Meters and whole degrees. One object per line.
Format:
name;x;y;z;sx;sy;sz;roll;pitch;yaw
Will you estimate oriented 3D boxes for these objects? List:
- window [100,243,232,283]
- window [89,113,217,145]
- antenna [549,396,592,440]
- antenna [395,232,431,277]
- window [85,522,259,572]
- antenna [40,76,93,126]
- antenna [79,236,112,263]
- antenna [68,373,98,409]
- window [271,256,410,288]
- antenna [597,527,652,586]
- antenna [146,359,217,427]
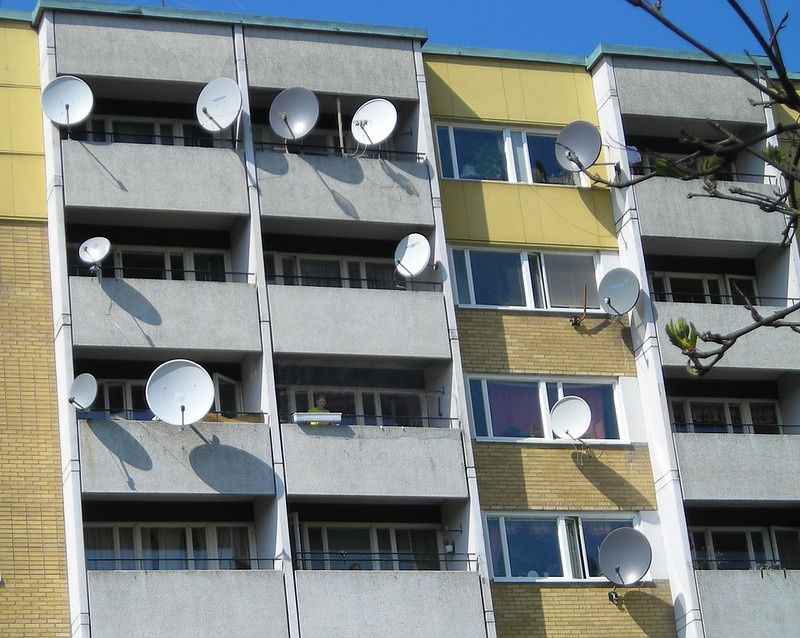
window;-6.057;-1.516;38.497;3.090;0.992;0.374;-1;-19;-14
window;-6.748;-5.151;39.410;3.237;0.864;0.241;-1;-19;-15
antenna;4.435;2.375;38.169;0.949;1.216;0.986;-2;-9;-3
antenna;0.347;-1.766;37.951;0.218;1.109;0.919;10;7;-42
window;-5.704;5.425;35.965;3.961;1.164;0.137;0;-19;-16
antenna;-8.403;-5.567;36.933;1.170;1.303;0.555;-31;-9;-13
antenna;-7.513;-1.769;36.029;0.825;0.887;0.367;-9;-20;10
antenna;-7.510;1.639;34.887;0.616;0.754;0.796;1;-56;5
window;-1.874;-1.402;39.510;3.498;0.968;0.193;-1;-19;-14
antenna;5.639;5.747;36.338;1.029;1.189;1.520;-20;-52;-11
antenna;-5.216;1.597;34.704;1.528;1.474;0.413;-2;-19;-10
